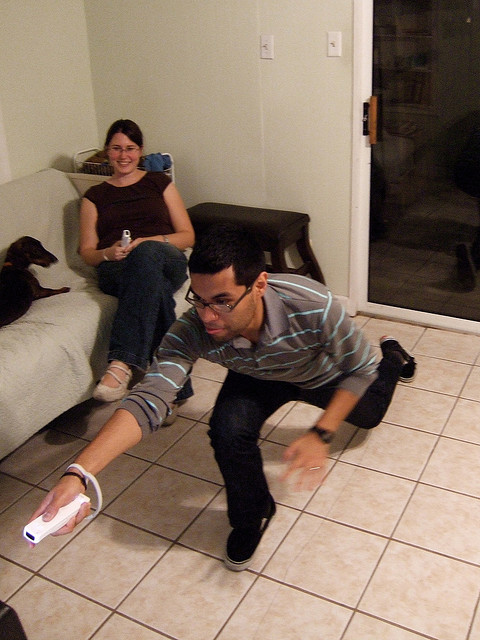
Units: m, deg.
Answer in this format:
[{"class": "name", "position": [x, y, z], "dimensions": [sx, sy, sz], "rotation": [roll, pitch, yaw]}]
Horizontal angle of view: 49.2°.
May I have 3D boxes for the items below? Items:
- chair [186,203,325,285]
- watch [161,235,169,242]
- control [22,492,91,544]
[{"class": "chair", "position": [0.063, -0.409, 3.145], "dimensions": [0.721, 0.434, 0.498], "rotation": [14, 23, 33]}, {"class": "watch", "position": [-0.359, -0.389, 2.511], "dimensions": [0.012, 0.031, 0.024], "rotation": [-22, 19, -26]}, {"class": "control", "position": [-0.303, 0.335, 0.896], "dimensions": [0.046, 0.026, 0.139], "rotation": [17, 16, 20]}]
